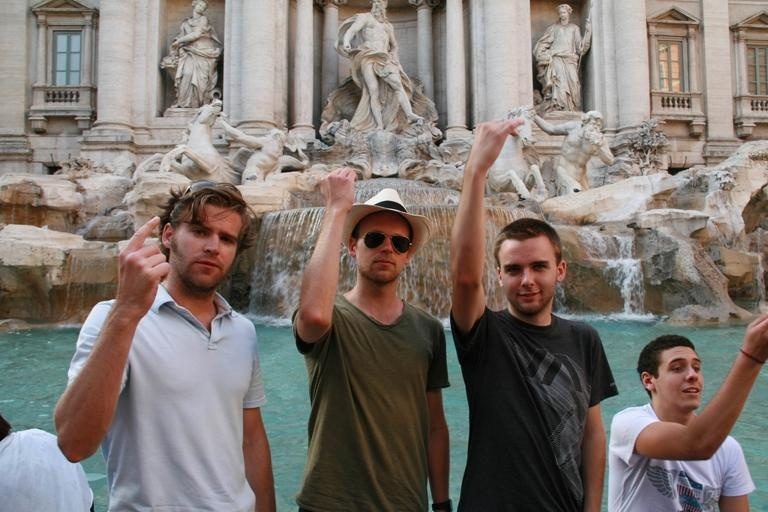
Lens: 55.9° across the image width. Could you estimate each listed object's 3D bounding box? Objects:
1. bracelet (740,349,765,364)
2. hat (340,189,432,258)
[{"bbox_3d":[2.531,0.675,4.907,0.208,0.105,0.111,-1,0,-22],"label":"bracelet"},{"bbox_3d":[0.038,-0.303,5.526,0.465,0.198,0.519,11,-26,-3],"label":"hat"}]
